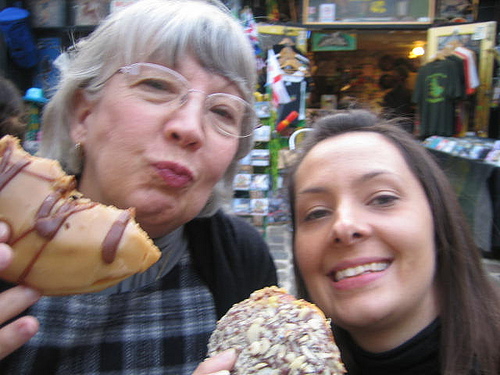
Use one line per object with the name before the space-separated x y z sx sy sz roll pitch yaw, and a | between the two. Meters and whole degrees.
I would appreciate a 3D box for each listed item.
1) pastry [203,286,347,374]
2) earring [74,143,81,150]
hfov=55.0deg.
pastry | 0.099 0.612 1.980 0.495 0.240 0.381 -8 19 -20
earring | -0.869 -0.204 2.417 0.032 0.030 0.008 2 14 8
